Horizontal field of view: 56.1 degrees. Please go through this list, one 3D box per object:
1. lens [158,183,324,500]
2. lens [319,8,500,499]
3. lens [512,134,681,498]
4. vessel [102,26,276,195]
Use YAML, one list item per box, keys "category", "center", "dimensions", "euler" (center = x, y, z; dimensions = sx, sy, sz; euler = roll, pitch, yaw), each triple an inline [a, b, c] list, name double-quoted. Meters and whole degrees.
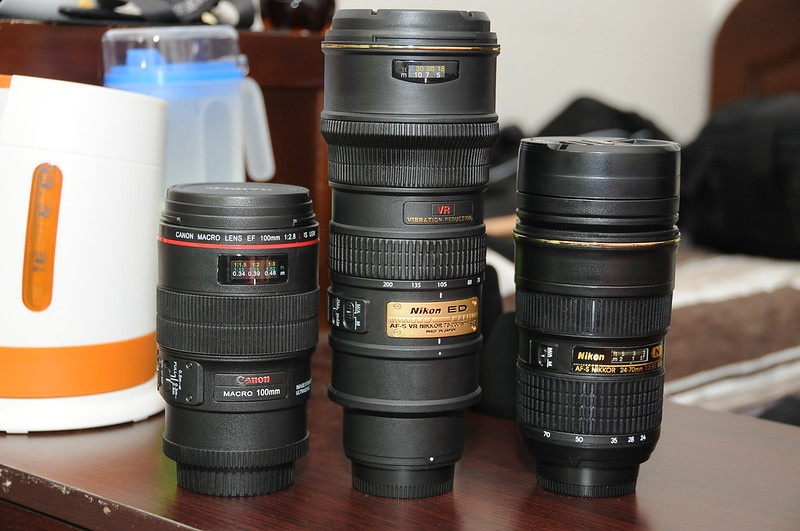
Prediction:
- category: "lens"
  center: [-0.181, 0.079, 0.852]
  dimensions: [0.173, 0.331, 0.146]
  euler: [3, 14, 7]
- category: "lens"
  center: [0.011, -0.008, 0.825]
  dimensions: [0.190, 0.523, 0.122]
  euler: [-1, 14, -6]
- category: "lens"
  center: [0.212, 0.057, 0.846]
  dimensions: [0.177, 0.391, 0.121]
  euler: [3, 14, 9]
- category: "vessel"
  center: [-0.349, -0.224, 1.180]
  dimensions: [0.294, 0.266, 0.180]
  euler: [-4, 15, -32]
